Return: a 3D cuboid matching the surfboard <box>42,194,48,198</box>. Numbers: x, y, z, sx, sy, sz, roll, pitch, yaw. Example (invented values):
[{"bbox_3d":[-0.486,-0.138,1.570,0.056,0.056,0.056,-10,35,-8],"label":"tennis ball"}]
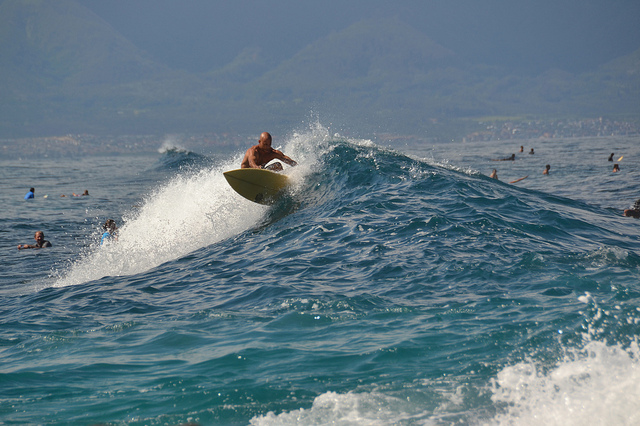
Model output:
[{"bbox_3d":[-16.045,-0.990,39.189,0.272,0.097,0.332,-12,1,-29],"label":"surfboard"}]
